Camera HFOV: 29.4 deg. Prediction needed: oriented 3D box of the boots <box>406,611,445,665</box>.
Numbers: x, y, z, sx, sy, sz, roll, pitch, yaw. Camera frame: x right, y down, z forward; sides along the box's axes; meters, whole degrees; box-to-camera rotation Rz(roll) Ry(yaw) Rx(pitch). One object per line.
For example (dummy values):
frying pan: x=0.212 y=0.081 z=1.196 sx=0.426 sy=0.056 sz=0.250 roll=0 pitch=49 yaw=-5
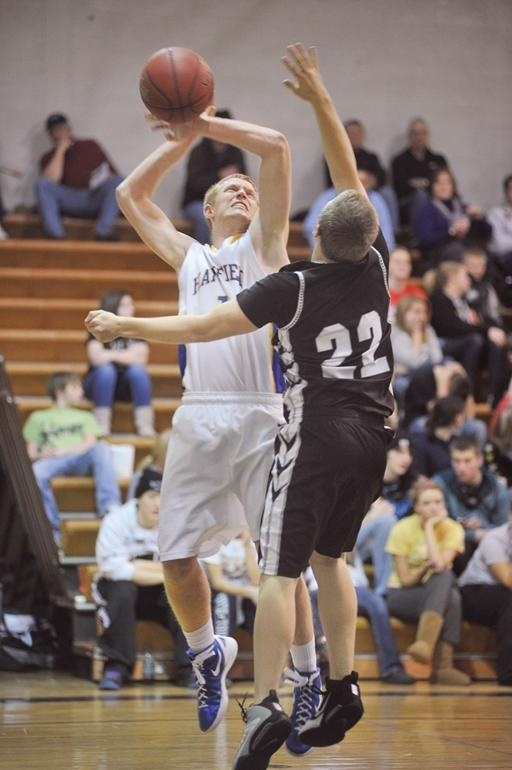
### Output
boots: x=0.807 y=1.215 z=4.665 sx=0.096 sy=0.260 sz=0.209 roll=-3 pitch=5 yaw=-15

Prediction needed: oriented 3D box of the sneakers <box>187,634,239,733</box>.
sneakers: x=-0.177 y=0.973 z=3.218 sx=0.121 sy=0.333 sz=0.160 roll=-21 pitch=-43 yaw=42

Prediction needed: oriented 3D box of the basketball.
basketball: x=-0.241 y=-0.922 z=3.095 sx=0.252 sy=0.237 sz=0.245 roll=0 pitch=-5 yaw=-3

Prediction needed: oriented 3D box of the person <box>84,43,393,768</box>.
person: x=0.053 y=0.056 z=2.861 sx=0.525 sy=2.142 sz=0.803 roll=4 pitch=7 yaw=43

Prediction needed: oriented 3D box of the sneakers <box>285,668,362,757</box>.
sneakers: x=0.196 y=0.968 z=2.904 sx=0.153 sy=0.160 sz=0.403 roll=-1 pitch=-30 yaw=-19
